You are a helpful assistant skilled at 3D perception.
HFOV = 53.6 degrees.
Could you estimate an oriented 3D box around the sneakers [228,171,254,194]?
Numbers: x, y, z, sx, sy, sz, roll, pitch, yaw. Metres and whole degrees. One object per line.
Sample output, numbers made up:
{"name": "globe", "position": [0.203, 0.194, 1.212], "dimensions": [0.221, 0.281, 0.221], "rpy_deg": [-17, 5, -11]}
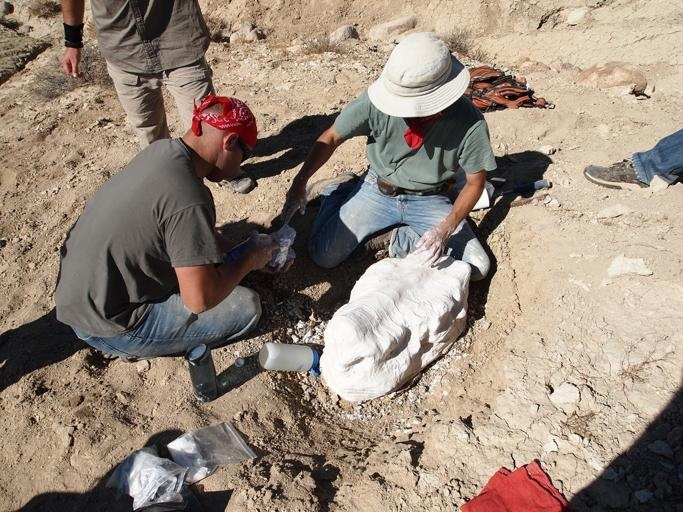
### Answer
{"name": "sneakers", "position": [-0.923, -0.671, 6.297], "dimensions": [0.220, 0.091, 0.174], "rpy_deg": [14, 94, 7]}

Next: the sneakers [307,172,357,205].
{"name": "sneakers", "position": [-0.093, -0.564, 6.031], "dimensions": [0.389, 0.229, 0.149], "rpy_deg": [-25, 96, 5]}

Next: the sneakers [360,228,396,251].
{"name": "sneakers", "position": [0.303, -0.139, 5.915], "dimensions": [0.241, 0.178, 0.059], "rpy_deg": [-20, 36, -22]}

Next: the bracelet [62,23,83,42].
{"name": "bracelet", "position": [-2.273, -1.892, 5.698], "dimensions": [0.149, 0.160, 0.160], "rpy_deg": [-11, 27, -25]}

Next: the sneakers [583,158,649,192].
{"name": "sneakers", "position": [2.283, -0.666, 5.704], "dimensions": [0.510, 0.223, 0.211], "rpy_deg": [10, 50, 15]}
